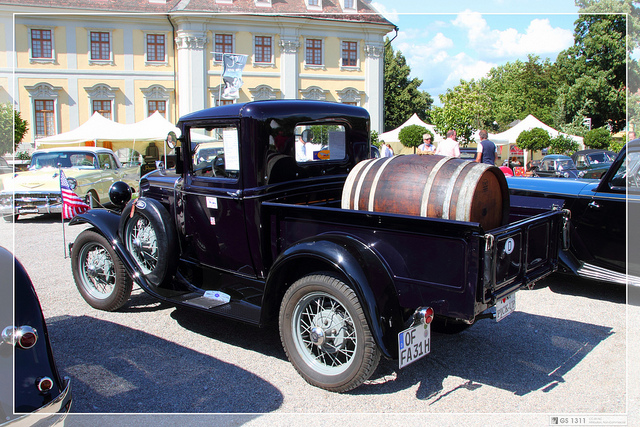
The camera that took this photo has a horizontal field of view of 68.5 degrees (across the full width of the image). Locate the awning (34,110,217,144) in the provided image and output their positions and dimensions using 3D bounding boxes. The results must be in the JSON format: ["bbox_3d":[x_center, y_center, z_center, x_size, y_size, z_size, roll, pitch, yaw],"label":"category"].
[{"bbox_3d":[-8.782,-3.677,20.376,4.398,1.077,2.134,-4,14,-13],"label":"awning"}]

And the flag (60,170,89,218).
[{"bbox_3d":[-4.487,-0.321,8.523,0.412,0.864,0.707,-8,15,-29],"label":"flag"}]

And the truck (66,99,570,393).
[{"bbox_3d":[-0.569,0.277,6.283,6.165,3.066,2.938,8,8,35],"label":"truck"}]

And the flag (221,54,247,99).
[{"bbox_3d":[-5.857,-9.299,31.573,1.068,2.848,2.166,4,14,21],"label":"flag"}]
